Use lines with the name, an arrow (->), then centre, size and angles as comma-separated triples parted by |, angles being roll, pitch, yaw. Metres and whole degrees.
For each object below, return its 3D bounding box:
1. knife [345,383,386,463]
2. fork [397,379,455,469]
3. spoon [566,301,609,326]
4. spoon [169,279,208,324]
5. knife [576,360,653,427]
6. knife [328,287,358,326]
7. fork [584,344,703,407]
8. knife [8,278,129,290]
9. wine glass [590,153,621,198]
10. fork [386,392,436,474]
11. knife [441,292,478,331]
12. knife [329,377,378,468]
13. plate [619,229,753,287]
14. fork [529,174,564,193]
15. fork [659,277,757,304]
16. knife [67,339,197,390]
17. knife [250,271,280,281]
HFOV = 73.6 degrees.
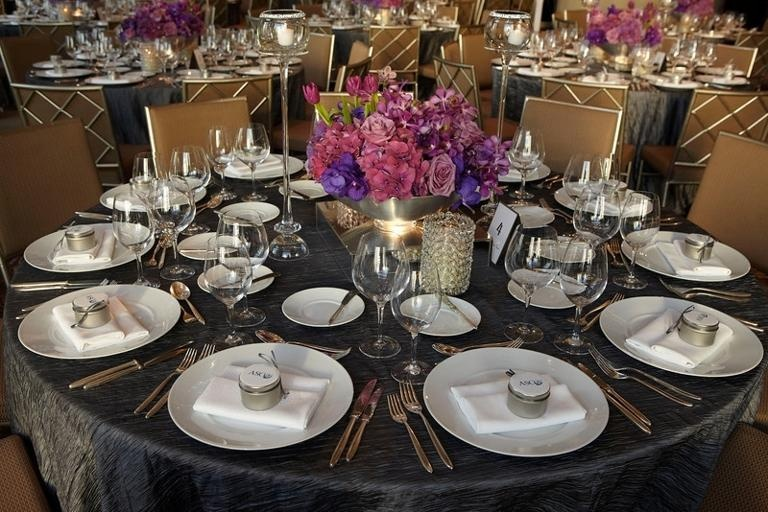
knife -> -0.050, 0.386, 1.165 | 0.025, 0.248, 0.013 | 20, 28, 1
fork -> 0.071, 0.362, 1.202 | 0.046, 0.041, 0.344 | 15, 32, -32
spoon -> 0.589, 0.171, 1.484 | 0.177, 0.027, 0.030 | -16, 46, -36
spoon -> -0.594, 0.127, 1.525 | 0.063, 0.042, 0.296 | -15, 28, -22
knife -> 0.556, 0.336, 1.268 | 0.056, 0.016, 0.230 | -10, 31, -26
knife -> -0.124, 0.150, 1.484 | 0.029, 0.008, 0.178 | 19, 24, 6
fork -> 0.664, 0.309, 1.292 | 0.208, 0.035, 0.036 | 29, 34, 28
knife -> -0.969, 0.089, 1.562 | 0.225, 0.017, 0.030 | -1, 11, -14
wine glass -> 0.871, -0.330, 2.023 | 0.092, 0.143, 0.088 | -7, 27, -9
fork -> 0.052, 0.385, 1.205 | 0.040, 0.033, 0.287 | -13, 36, -13
knife -> 0.218, 0.166, 1.482 | 0.024, 0.015, 0.182 | -33, 39, -1
knife -> -0.066, 0.400, 1.238 | 0.039, 0.313, 0.016 | 9, 33, -7
plate -> 1.063, 0.023, 1.740 | 0.257, 0.029, 0.256 | -3, 29, -6
fork -> 0.739, -0.322, 2.306 | 0.075, 0.022, 0.255 | 14, 25, 26
fork -> 1.033, 0.114, 1.626 | 0.236, 0.041, 0.039 | 9, 13, 6
knife -> -0.644, 0.277, 1.284 | 0.247, 0.017, 0.036 | -20, 42, -34
knife -> -0.372, 0.065, 1.592 | 0.105, 0.008, 0.014 | -16, 75, -29
